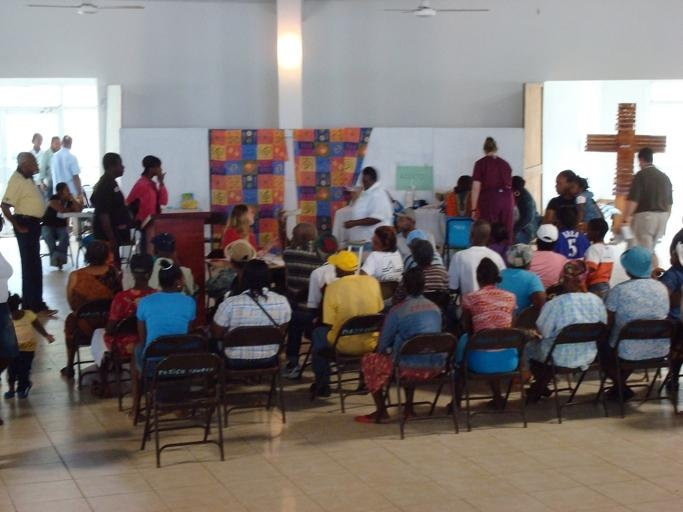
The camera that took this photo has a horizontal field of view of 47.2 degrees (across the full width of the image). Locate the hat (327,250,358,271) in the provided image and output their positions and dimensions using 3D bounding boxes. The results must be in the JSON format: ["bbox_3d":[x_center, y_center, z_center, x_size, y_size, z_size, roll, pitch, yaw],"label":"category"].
[{"bbox_3d":[0.041,0.042,7.117,0.246,0.126,0.173,18,33,26],"label":"hat"}]

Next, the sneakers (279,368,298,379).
[{"bbox_3d":[-0.513,1.169,7.762,0.100,0.068,0.176,0,-5,38],"label":"sneakers"}]

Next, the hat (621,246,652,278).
[{"bbox_3d":[2.708,0.056,6.925,0.251,0.277,0.144,-18,-15,-3],"label":"hat"}]

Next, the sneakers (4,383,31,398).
[{"bbox_3d":[-3.079,1.257,7.329,0.273,0.111,0.097,0,29,-5],"label":"sneakers"}]

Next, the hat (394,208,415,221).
[{"bbox_3d":[0.836,-0.484,9.253,0.223,0.116,0.151,12,-5,-27],"label":"hat"}]
